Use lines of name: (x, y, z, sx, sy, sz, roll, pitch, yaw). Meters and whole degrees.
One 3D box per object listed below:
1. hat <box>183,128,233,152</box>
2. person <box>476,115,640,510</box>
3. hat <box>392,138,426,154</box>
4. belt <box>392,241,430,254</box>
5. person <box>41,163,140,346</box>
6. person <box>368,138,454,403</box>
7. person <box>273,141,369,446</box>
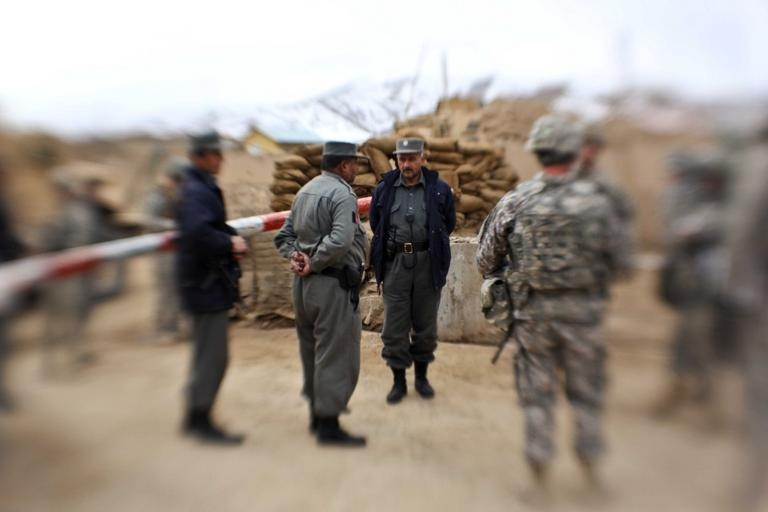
hat: (-1.229, -0.801, 4.077, 0.232, 0.154, 0.052, -14, 18, -41)
person: (1.074, 0.327, 3.801, 0.383, 2.409, 0.865, -16, 19, -42)
hat: (0.232, -0.958, 5.150, 0.241, 0.132, 0.162, -8, 14, -21)
belt: (0.239, -0.079, 5.194, 0.307, 0.097, 0.072, -4, 14, -6)
person: (-2.003, -0.023, 3.892, 0.806, 1.053, 0.298, 5, 1, 45)
person: (0.275, 0.120, 5.284, 0.757, 2.296, 0.650, -3, 14, -1)
person: (-0.433, 0.288, 4.579, 0.686, 2.306, 0.681, -6, 14, -10)
